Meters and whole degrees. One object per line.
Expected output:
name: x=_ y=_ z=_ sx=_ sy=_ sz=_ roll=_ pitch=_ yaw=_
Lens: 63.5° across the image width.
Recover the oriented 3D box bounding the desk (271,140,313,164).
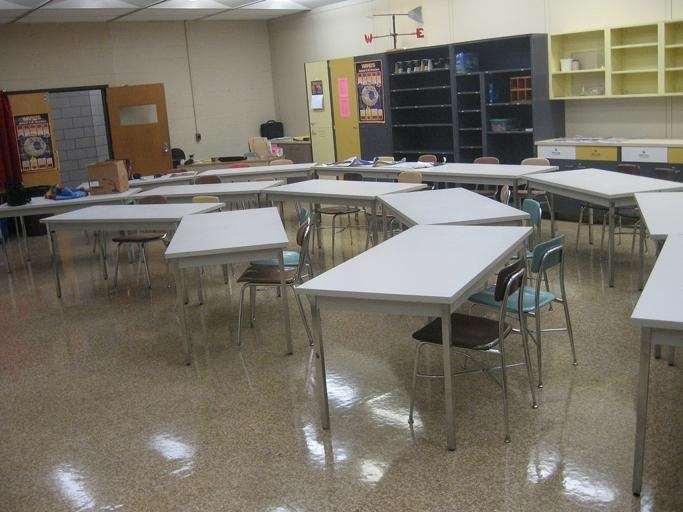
desk: x=-1.041 y=-2.391 z=12.437 sx=0.338 sy=0.542 sz=1.226 roll=-17 pitch=16 yaw=-36

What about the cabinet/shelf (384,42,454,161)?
cabinet/shelf: x=1.439 y=-2.727 z=10.027 sx=1.207 sy=1.990 sz=0.657 roll=-1 pitch=15 yaw=22

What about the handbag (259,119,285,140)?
handbag: x=-1.605 y=-3.056 z=13.290 sx=0.581 sy=0.435 sz=0.460 roll=-15 pitch=16 yaw=-31

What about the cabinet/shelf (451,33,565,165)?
cabinet/shelf: x=2.694 y=-2.525 z=9.043 sx=1.028 sy=2.038 sz=1.637 roll=-15 pitch=16 yaw=-31
